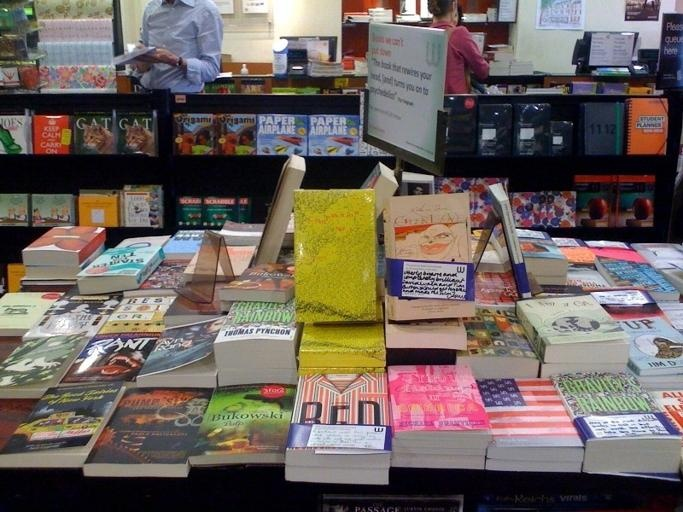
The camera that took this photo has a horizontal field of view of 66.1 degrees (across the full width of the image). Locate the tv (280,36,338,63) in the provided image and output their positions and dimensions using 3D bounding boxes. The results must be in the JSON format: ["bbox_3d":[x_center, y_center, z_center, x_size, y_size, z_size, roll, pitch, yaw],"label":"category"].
[{"bbox_3d":[-0.487,-2.926,7.457,0.803,0.442,0.382,-1,12,-1],"label":"tv"}]

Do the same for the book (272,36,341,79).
[{"bbox_3d":[-0.405,-2.880,7.576,1.082,0.574,0.543,10,27,18],"label":"book"}]

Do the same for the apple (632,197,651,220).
[{"bbox_3d":[2.212,-0.361,3.910,0.166,0.162,0.155,-1,-3,23],"label":"apple"}]

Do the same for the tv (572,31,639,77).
[{"bbox_3d":[3.824,-2.948,7.788,0.917,0.674,0.441,-4,14,-8],"label":"tv"}]

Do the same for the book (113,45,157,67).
[{"bbox_3d":[-1.453,-1.425,3.726,0.320,0.074,0.269,-3,30,23],"label":"book"}]
